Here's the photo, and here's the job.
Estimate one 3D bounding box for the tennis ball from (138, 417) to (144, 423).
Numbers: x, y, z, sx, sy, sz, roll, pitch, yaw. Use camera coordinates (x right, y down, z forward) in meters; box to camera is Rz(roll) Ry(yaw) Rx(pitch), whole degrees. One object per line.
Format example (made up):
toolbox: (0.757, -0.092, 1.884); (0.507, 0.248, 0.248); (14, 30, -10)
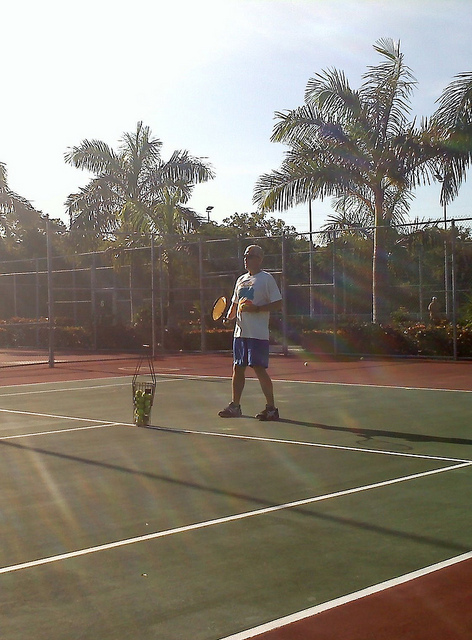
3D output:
tennis ball: (-1.152, 1.200, 6.778); (0.079, 0.084, 0.046); (-2, -5, 6)

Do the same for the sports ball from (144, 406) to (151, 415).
sports ball: (-1.067, 1.087, 6.777); (0.080, 0.165, 0.095); (2, -2, 1)

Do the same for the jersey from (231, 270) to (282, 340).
jersey: (0.254, -0.214, 7.230); (0.687, 0.919, 0.379); (-1, -3, 21)

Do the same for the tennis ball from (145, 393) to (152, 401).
tennis ball: (-1.045, 0.919, 6.726); (0.091, 0.083, 0.034); (1, -3, -23)

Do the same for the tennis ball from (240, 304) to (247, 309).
tennis ball: (0.088, -0.177, 7.081); (0.041, 0.064, 0.153); (1, -4, -23)
